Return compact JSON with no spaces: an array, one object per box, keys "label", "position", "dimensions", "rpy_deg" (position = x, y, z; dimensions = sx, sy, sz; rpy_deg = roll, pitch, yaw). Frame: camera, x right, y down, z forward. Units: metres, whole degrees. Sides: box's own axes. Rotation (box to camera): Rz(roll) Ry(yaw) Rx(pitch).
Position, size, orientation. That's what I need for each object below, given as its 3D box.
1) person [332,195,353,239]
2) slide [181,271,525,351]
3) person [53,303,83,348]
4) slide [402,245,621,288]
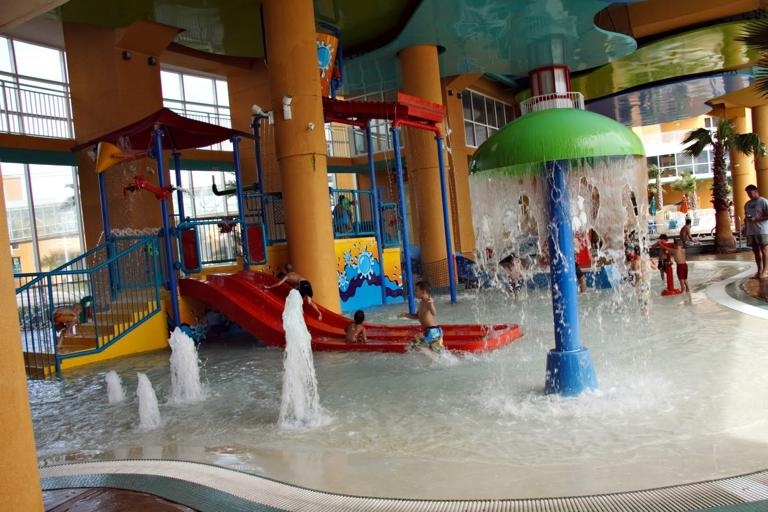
[{"label":"person","position":[-0.944,-0.952,12.324],"dimensions":[0.384,0.728,0.766],"rpy_deg":[-5,2,19]},{"label":"slide","position":[-0.934,0.789,8.710],"dimensions":[5.610,1.113,1.162],"rpy_deg":[-4,3,27]},{"label":"person","position":[-5.270,1.131,8.976],"dimensions":[0.384,0.771,0.768],"rpy_deg":[-7,3,-30]},{"label":"slide","position":[3.515,0.514,13.150],"dimensions":[3.173,1.054,1.646],"rpy_deg":[-5,-4,25]}]
